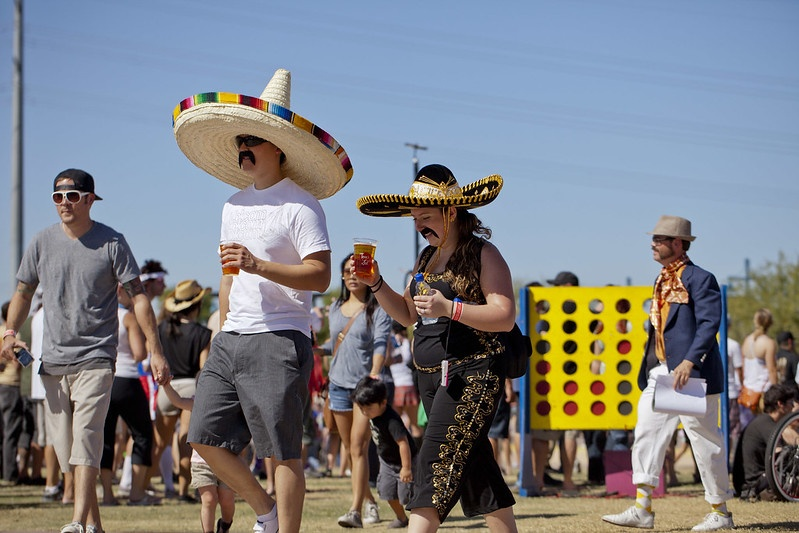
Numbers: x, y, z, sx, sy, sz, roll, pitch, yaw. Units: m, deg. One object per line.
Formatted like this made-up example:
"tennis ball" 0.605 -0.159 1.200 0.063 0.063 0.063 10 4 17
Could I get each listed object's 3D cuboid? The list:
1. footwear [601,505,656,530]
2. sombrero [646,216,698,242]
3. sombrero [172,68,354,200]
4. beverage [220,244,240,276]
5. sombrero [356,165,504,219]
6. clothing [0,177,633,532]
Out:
"footwear" 2.539 2.727 16.316 0.632 0.284 0.220 5 -9 1
"sombrero" 2.745 -0.364 14.898 0.284 0.115 0.261 13 -4 -12
"sombrero" -1.337 -1.500 15.422 1.870 1.026 1.936 7 -18 17
"beverage" -1.673 -0.061 14.684 0.201 0.292 0.382 0 -8 -7
"sombrero" 0.279 -0.741 15.299 1.412 0.430 1.303 -4 1 23
"clothing" -1.118 1.080 15.677 4.443 4.462 2.047 12 -22 -22
